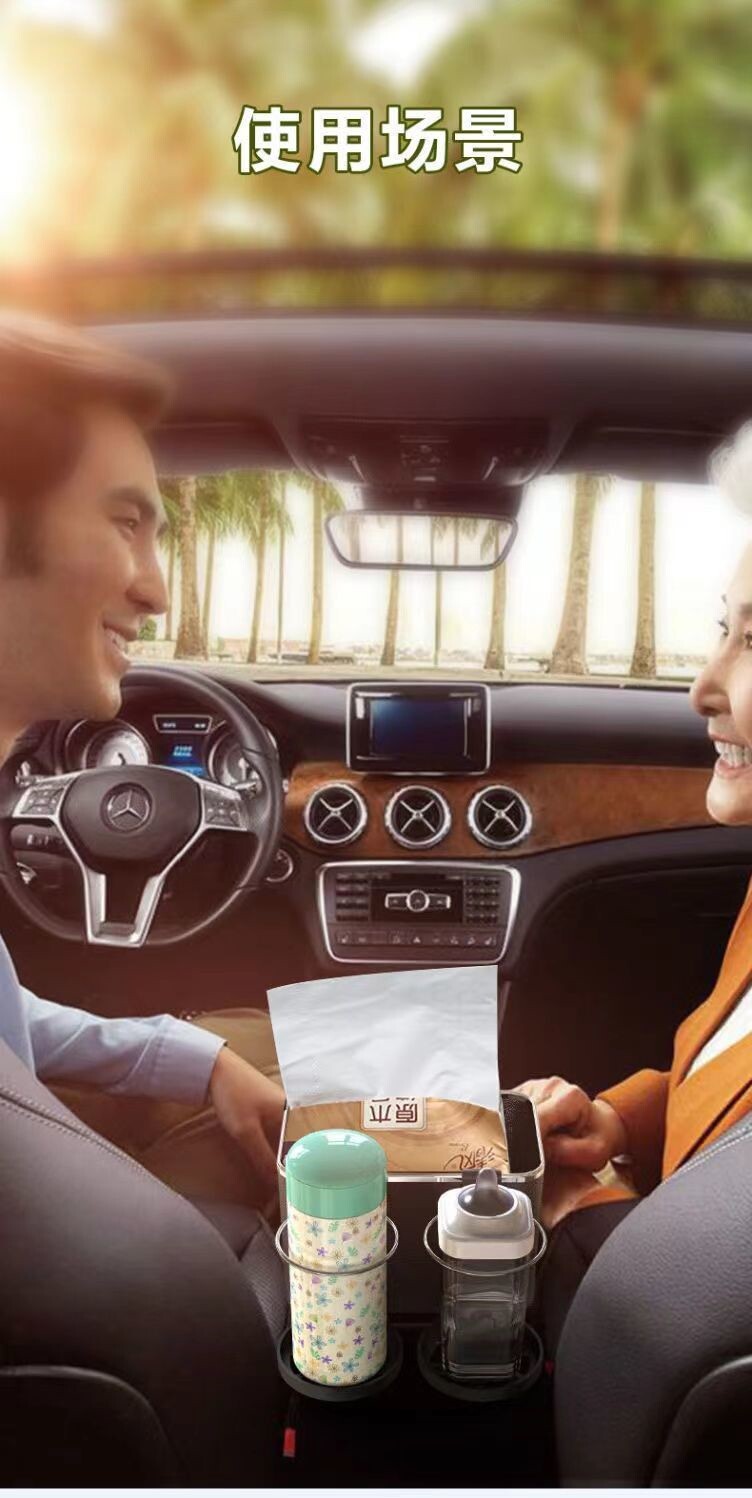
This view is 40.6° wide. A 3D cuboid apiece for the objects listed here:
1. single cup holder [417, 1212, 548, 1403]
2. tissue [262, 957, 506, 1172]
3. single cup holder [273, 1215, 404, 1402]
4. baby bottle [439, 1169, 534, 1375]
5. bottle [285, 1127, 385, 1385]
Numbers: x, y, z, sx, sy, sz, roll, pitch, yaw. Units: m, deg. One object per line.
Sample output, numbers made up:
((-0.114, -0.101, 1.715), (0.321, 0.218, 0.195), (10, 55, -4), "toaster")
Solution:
((0.080, 0.405, 0.809), (0.116, 0.151, 0.129), (0, 18, 1), "single cup holder")
((0.005, 0.268, 0.867), (0.200, 0.129, 0.163), (4, 6, -2), "tissue")
((-0.022, 0.400, 0.770), (0.096, 0.123, 0.103), (0, 10, 0), "single cup holder")
((0.079, 0.395, 0.771), (0.071, 0.145, 0.071), (2, 3, 0), "baby bottle")
((-0.027, 0.359, 0.722), (0.077, 0.178, 0.072), (3, 6, 0), "bottle")
